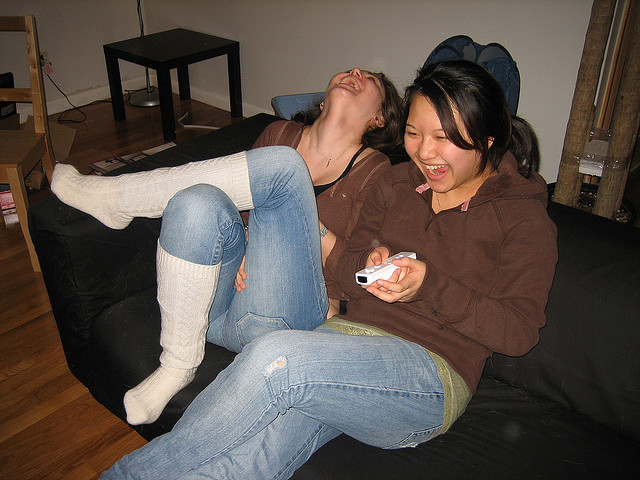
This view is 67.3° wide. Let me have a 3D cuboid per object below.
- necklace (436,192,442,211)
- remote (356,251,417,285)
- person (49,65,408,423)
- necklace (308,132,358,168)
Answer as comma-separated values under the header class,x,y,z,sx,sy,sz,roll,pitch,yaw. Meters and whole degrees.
class,x,y,z,sx,sy,sz,roll,pitch,yaw
necklace,0.385,-0.123,1.553,0.005,0.007,0.065,0,63,-14
remote,0.209,0.067,1.394,0.228,0.045,0.072,-22,31,-28
person,-0.230,-0.034,1.721,0.698,1.358,1.159,25,17,39
necklace,0.062,-0.361,1.929,0.158,0.132,0.007,22,-9,15
